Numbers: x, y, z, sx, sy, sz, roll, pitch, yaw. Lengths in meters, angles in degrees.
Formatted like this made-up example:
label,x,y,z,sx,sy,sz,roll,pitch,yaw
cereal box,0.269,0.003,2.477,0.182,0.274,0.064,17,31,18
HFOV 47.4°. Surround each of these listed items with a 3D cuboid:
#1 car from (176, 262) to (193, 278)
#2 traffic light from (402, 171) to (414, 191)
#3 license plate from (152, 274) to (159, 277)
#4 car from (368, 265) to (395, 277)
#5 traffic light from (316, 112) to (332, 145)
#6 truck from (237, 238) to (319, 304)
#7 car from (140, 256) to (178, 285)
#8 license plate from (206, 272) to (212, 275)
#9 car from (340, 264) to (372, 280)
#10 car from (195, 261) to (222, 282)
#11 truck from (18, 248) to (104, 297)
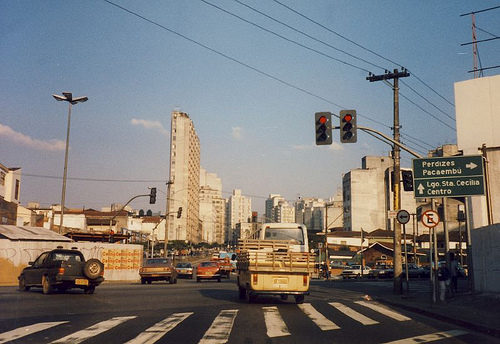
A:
label,x,y,z,sx,sy,sz,roll,pitch,yaw
car,-6.217,9.267,54.009,1.481,1.376,2.140,2,-13,-8
traffic light,9.232,0.471,33.380,0.514,1.330,1.233,-3,-13,15
license plate,-6.974,7.646,42.266,0.468,0.175,0.121,1,-12,-6
car,13.835,10.637,61.487,2.357,1.329,4.005,0,-12,1
traffic light,3.785,-2.209,29.129,0.750,1.645,0.344,-1,-12,6
truck,1.239,5.153,30.185,3.626,3.190,5.676,1,-10,-8
car,-6.795,7.319,42.842,1.579,1.242,2.770,-1,-4,6
license plate,-3.318,8.264,46.566,0.479,0.203,0.146,1,-12,-5
car,12.325,11.281,64.393,1.807,1.178,3.817,-10,-17,36
car,-3.377,8.280,47.465,1.901,1.723,1.989,0,-12,-1
truck,-10.713,5.534,31.855,2.378,1.816,4.303,6,-6,-35
